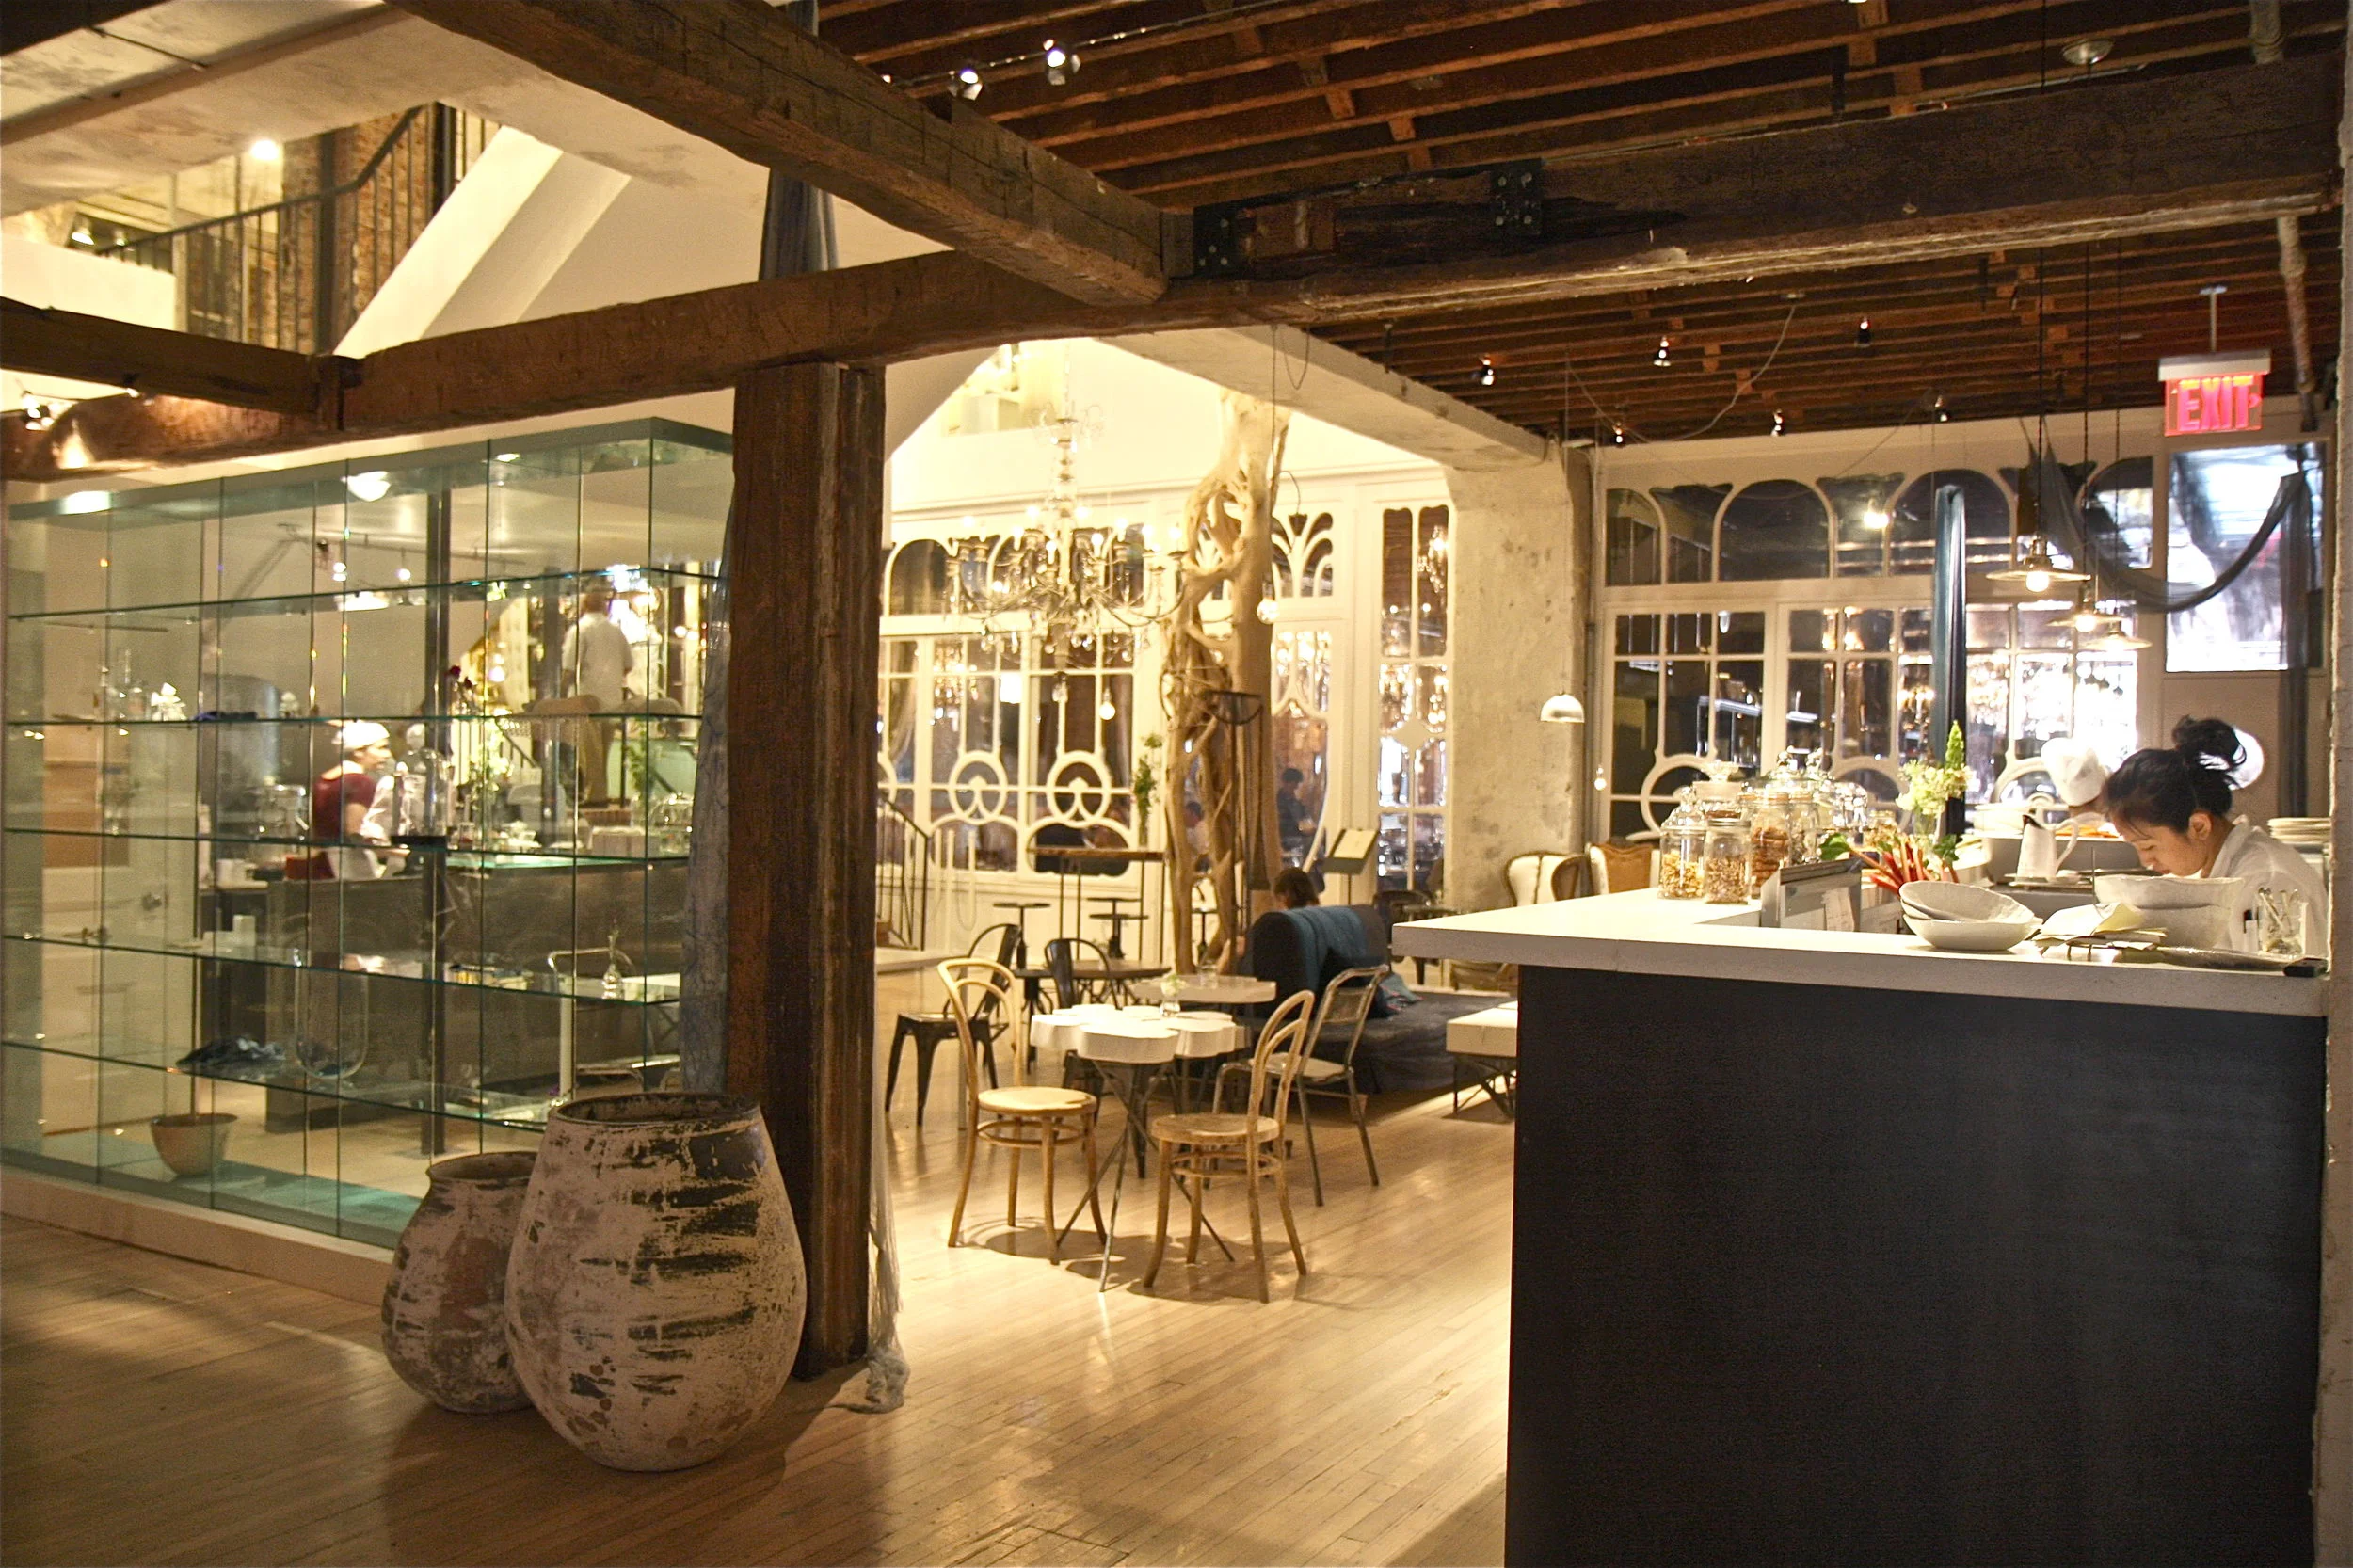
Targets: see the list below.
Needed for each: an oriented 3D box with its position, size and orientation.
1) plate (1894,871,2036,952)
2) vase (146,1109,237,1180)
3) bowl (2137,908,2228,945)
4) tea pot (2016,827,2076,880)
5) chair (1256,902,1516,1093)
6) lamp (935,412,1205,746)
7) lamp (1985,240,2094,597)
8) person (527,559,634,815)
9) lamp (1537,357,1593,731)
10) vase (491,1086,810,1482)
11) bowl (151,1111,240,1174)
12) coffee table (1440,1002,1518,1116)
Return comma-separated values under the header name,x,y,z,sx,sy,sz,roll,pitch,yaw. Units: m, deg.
name,x,y,z,sx,sy,sz,roll,pitch,yaw
plate,2.270,0.371,5.691,0.249,0.101,0.249,2,12,17
vase,-4.369,1.595,8.804,0.353,0.233,0.341,6,-9,-36
bowl,3.083,0.425,5.996,0.162,0.094,0.159,0,-4,0
tea pot,3.502,0.268,7.994,0.154,0.252,0.265,5,9,20
chair,1.198,1.249,11.924,0.945,1.059,1.676,2,2,31
lamp,-0.765,-1.703,14.349,1.678,1.932,1.659,0,-4,11
lamp,5.117,-2.063,11.659,0.423,1.549,3.372,5,9,25
person,-2.358,-0.361,7.829,0.439,0.946,0.190,7,10,34
lamp,2.856,-1.438,14.127,0.340,2.037,0.840,4,9,16
vase,-1.849,1.767,7.110,1.080,1.216,1.097,2,2,35
bowl,-4.369,1.584,8.814,0.336,0.218,0.321,2,-7,0
coffee table,1.148,1.095,7.514,0.280,0.343,0.738,3,-9,1
